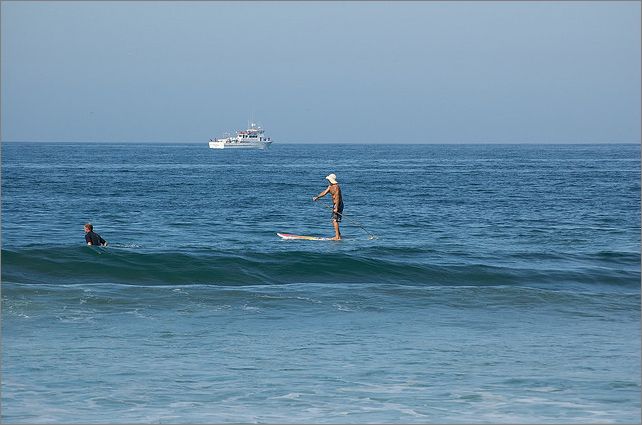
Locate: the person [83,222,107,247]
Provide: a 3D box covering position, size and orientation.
[{"bbox_3d":[-7.898,0.799,35.829,0.657,0.850,1.379,1,8,-11],"label":"person"}]
